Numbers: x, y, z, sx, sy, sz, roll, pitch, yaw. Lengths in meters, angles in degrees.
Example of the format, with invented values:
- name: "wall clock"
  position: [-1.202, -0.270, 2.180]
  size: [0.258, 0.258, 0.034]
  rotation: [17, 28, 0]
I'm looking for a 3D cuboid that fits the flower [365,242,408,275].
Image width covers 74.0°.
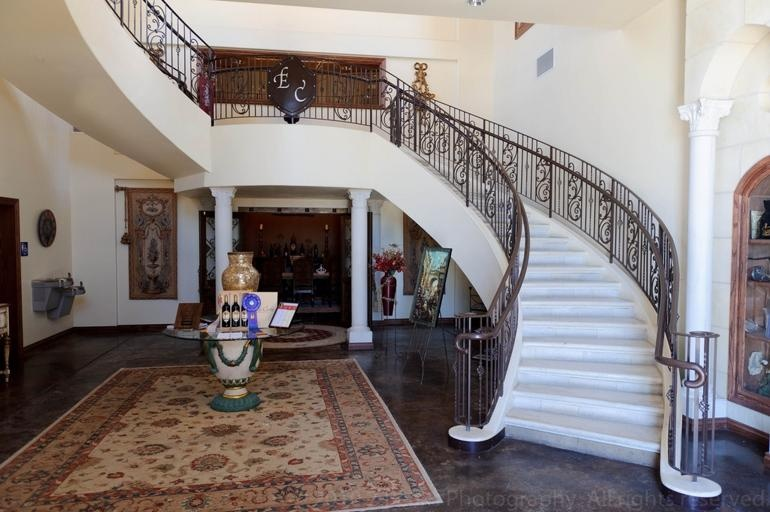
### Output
- name: "flower"
  position: [0.101, 0.070, 11.513]
  size: [0.752, 0.772, 0.718]
  rotation: [4, 5, 41]

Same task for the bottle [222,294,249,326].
- name: "bottle"
  position: [-2.161, 0.781, 7.301]
  size: [0.362, 0.496, 0.169]
  rotation: [-1, 7, -9]
